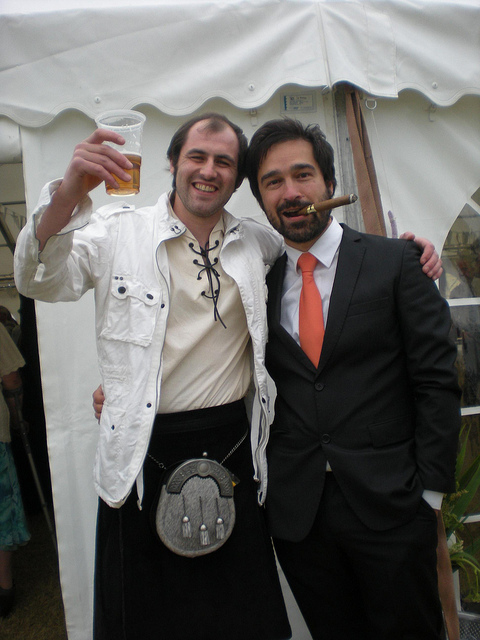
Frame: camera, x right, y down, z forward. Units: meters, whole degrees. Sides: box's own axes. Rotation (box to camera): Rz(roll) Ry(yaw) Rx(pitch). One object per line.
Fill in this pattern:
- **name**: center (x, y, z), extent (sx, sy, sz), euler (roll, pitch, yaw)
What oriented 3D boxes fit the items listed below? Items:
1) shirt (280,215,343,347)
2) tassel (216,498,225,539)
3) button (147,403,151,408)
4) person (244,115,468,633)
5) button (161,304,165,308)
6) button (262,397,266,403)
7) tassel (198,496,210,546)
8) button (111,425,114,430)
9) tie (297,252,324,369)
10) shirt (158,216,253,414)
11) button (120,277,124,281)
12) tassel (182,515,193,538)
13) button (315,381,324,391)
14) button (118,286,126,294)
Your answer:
- **shirt**: center (0.254, -0.157, 1.762), extent (0.259, 0.458, 0.101), euler (-10, -16, 22)
- **tassel**: center (-0.062, 0.673, 1.601), extent (0.028, 0.099, 0.025), euler (5, 10, 14)
- **button**: center (-0.281, 0.265, 1.519), extent (0.010, 0.013, 0.005), euler (3, 10, 0)
- **person**: center (0.343, 0.180, 1.666), extent (0.469, 1.720, 0.839), euler (-5, 13, -37)
- **button**: center (-0.251, -0.050, 1.597), extent (0.010, 0.010, 0.012), euler (1, -10, -9)
- **button**: center (0.081, 0.270, 1.644), extent (0.012, 0.019, 0.004), euler (-3, 2, -22)
- **tassel**: center (-0.119, 0.658, 1.580), extent (0.030, 0.149, 0.047), euler (-7, 14, -43)
- **button**: center (-0.399, 0.339, 1.539), extent (0.009, 0.015, 0.006), euler (5, -4, -40)
- **tie**: center (0.248, -0.045, 1.662), extent (0.058, 0.430, 0.070), euler (-5, -33, 14)
- **shirt**: center (-0.124, -0.039, 1.792), extent (0.412, 0.662, 0.294), euler (-3, 12, -29)
- **button**: center (-0.386, -0.142, 1.601), extent (0.008, 0.011, 0.003), euler (0, -6, -7)
- **tassel**: center (-0.166, 0.667, 1.558), extent (0.033, 0.066, 0.021), euler (-3, 11, -26)
- **button**: center (0.260, 0.215, 1.593), extent (0.020, 0.026, 0.005), euler (-4, -9, 11)
- **button**: center (-0.383, -0.102, 1.588), extent (0.017, 0.023, 0.005), euler (0, -4, -5)
